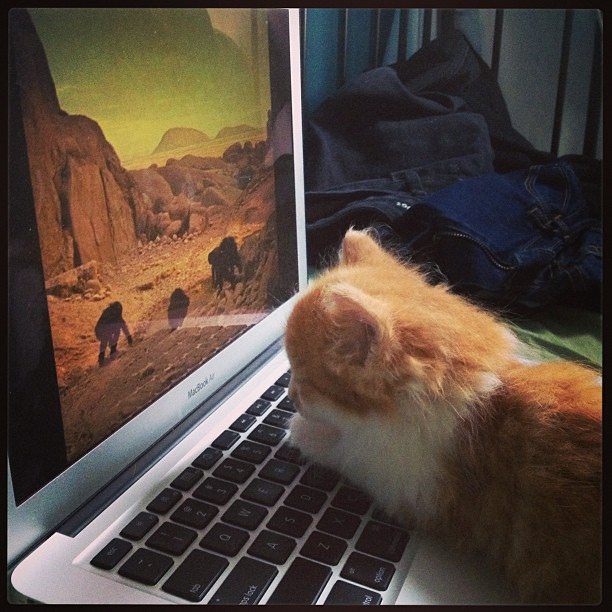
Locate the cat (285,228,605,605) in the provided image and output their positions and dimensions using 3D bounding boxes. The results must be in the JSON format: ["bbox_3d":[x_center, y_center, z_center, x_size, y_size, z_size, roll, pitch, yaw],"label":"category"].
[{"bbox_3d":[0.174,0.105,0.707,0.400,0.326,0.247,21,46,31],"label":"cat"}]

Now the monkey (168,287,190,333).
[{"bbox_3d":[-0.165,0.003,0.708,0.009,0.048,0.027,11,6,35],"label":"monkey"}]
